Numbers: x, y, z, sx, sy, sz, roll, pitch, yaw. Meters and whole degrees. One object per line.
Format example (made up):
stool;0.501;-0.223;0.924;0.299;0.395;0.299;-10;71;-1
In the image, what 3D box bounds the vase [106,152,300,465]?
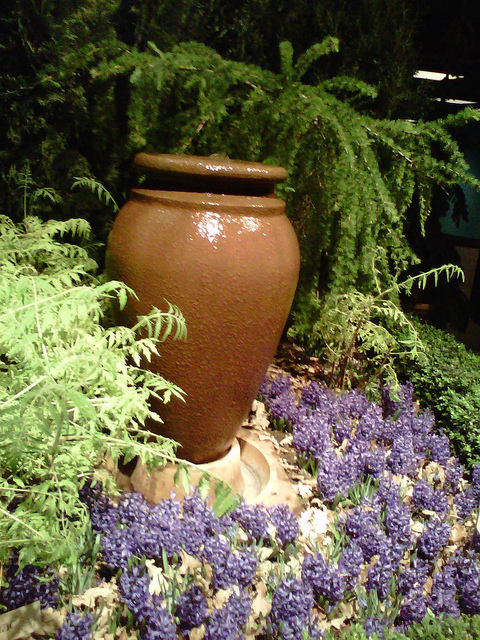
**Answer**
vase;-0.115;-0.004;1.252;0.449;0.757;0.292;6;27;-13
